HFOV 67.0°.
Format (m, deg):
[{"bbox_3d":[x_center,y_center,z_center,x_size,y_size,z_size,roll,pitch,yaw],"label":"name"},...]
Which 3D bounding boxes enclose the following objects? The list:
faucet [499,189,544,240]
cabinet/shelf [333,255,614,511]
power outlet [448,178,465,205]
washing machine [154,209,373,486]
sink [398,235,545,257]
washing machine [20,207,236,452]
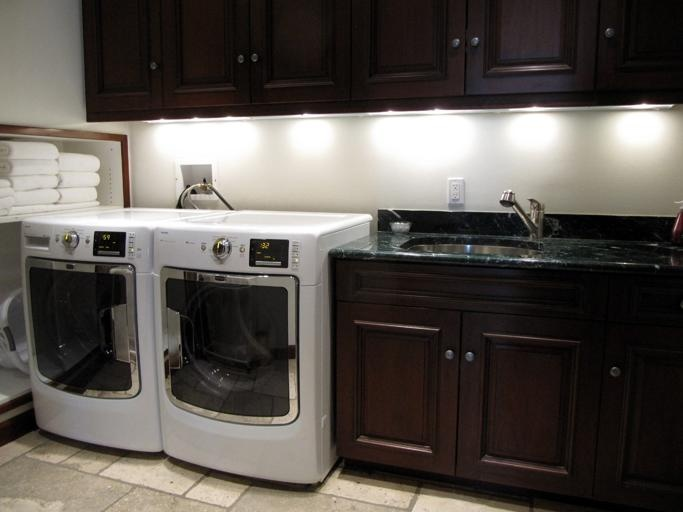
[{"bbox_3d":[0.873,-0.199,2.459,0.149,0.234,0.349,4,11,29],"label":"faucet"},{"bbox_3d":[0.561,0.503,2.405,1.080,0.992,0.606,2,3,16],"label":"cabinet/shelf"},{"bbox_3d":[0.602,-0.342,2.693,0.122,0.190,0.098,1,3,16],"label":"power outlet"},{"bbox_3d":[-0.380,0.305,2.676,0.929,1.389,1.049,2,7,20],"label":"washing machine"},{"bbox_3d":[0.624,-0.042,2.489,0.645,0.081,0.310,1,10,12],"label":"sink"},{"bbox_3d":[-1.172,0.289,2.948,0.886,1.363,1.039,3,6,24],"label":"washing machine"}]
